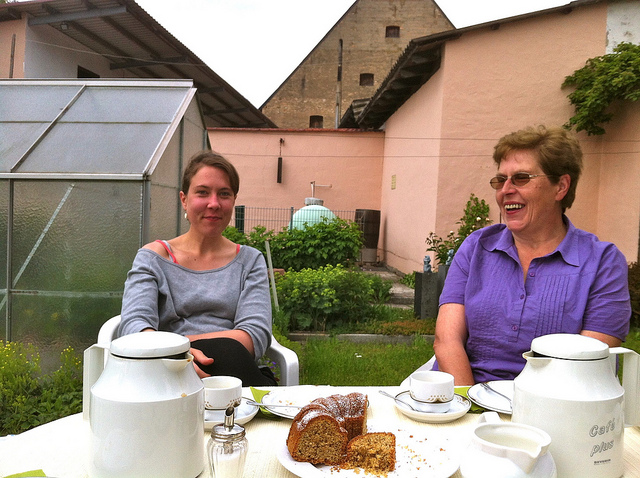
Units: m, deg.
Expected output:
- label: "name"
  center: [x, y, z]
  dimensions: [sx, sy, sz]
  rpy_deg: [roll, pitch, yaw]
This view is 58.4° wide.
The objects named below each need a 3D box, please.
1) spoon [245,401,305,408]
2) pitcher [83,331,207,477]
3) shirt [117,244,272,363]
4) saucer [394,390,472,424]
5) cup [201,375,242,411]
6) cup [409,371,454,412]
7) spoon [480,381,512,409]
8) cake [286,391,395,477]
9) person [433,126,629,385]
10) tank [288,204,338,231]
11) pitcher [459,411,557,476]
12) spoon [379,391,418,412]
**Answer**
- label: "spoon"
  center: [-0.185, 0.648, 2.248]
  dimensions: [0.192, 0.021, 0.020]
  rpy_deg: [14, -31, -19]
- label: "pitcher"
  center: [-0.580, 0.533, 2.037]
  dimensions: [0.454, 0.505, 0.368]
  rpy_deg: [-1, -1, 26]
- label: "shirt"
  center: [-0.692, 0.365, 3.275]
  dimensions: [0.794, 0.757, 0.460]
  rpy_deg: [0, -6, -18]
- label: "saucer"
  center: [0.455, 0.668, 2.302]
  dimensions: [0.308, 0.089, 0.220]
  rpy_deg: [-1, 0, 8]
- label: "cup"
  center: [-0.392, 0.606, 2.188]
  dimensions: [0.188, 0.110, 0.170]
  rpy_deg: [1, -6, -16]
- label: "cup"
  center: [0.440, 0.602, 2.289]
  dimensions: [0.140, 0.117, 0.157]
  rpy_deg: [0, -1, 3]
- label: "spoon"
  center: [0.736, 0.651, 2.405]
  dimensions: [0.027, 0.030, 0.170]
  rpy_deg: [-10, 25, -34]
- label: "cake"
  center: [0.073, 0.678, 1.966]
  dimensions: [0.258, 0.106, 0.265]
  rpy_deg: [2, 5, 16]
- label: "person"
  center: [1.060, 0.154, 3.040]
  dimensions: [0.876, 1.433, 1.055]
  rpy_deg: [-2, 4, -23]
- label: "tank"
  center: [-0.194, -0.547, 13.052]
  dimensions: [0.691, 0.553, 0.700]
  rpy_deg: [-2, 5, -18]
- label: "pitcher"
  center: [0.573, 0.618, 1.782]
  dimensions: [0.174, 0.212, 0.233]
  rpy_deg: [0, 6, -6]
- label: "spoon"
  center: [0.318, 0.657, 2.312]
  dimensions: [0.023, 0.024, 0.175]
  rpy_deg: [-23, 40, -39]
